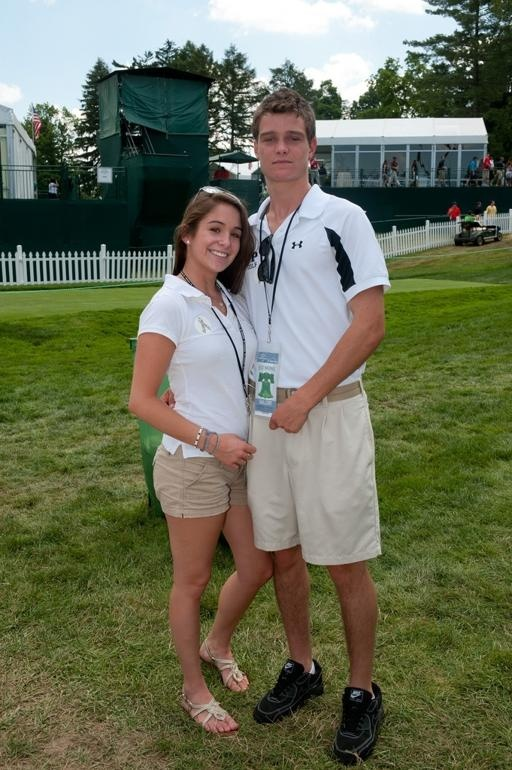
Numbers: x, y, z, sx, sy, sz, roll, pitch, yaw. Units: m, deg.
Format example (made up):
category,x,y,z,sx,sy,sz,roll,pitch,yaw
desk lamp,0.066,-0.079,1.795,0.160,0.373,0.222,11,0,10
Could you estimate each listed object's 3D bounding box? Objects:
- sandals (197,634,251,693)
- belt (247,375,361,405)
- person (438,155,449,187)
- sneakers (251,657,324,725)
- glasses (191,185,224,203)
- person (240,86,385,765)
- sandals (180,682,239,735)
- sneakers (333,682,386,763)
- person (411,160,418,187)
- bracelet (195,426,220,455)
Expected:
category,x,y,z,sx,sy,sz,roll,pitch,yaw
sandals,-0.134,1.141,2.585,0.114,0.090,0.223,-13,27,-39
belt,0.214,0.034,2.171,0.294,0.083,0.114,-1,8,2
person,10.157,-11.549,34.850,0.475,1.554,0.796,3,9,25
sneakers,0.129,1.136,2.404,0.112,0.150,0.344,-1,-1,35
glasses,-0.177,-0.713,2.360,0.091,0.090,0.025,-5,24,-2
person,0.147,0.087,2.272,0.433,2.266,0.571,-6,9,-29
sandals,-0.165,1.158,2.274,0.088,0.065,0.179,-9,6,-40
sneakers,0.354,1.135,2.149,0.097,0.126,0.287,-5,1,17
person,8.532,-11.350,34.356,0.365,1.441,0.688,3,9,24
bracelet,-0.164,0.187,2.150,0.085,0.088,0.065,11,11,8
